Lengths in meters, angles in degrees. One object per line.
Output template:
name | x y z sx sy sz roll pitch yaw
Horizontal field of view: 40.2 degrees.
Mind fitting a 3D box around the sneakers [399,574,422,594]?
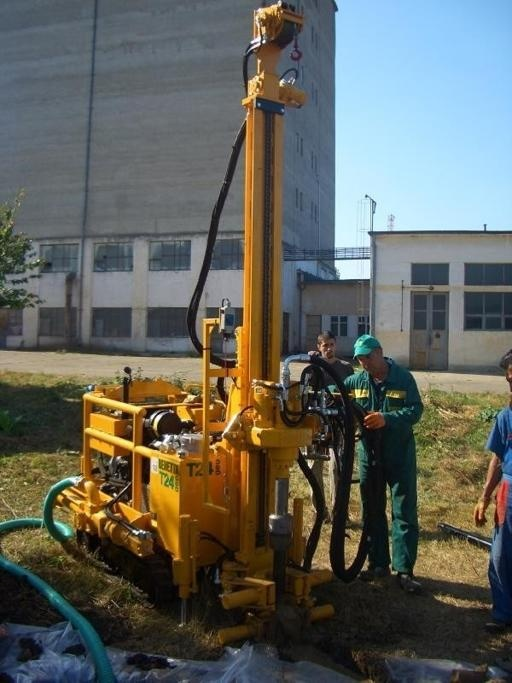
sneakers | 1.010 1.584 4.573 0.061 0.083 0.190 -1 -16 -19

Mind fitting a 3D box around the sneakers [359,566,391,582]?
sneakers | 0.809 1.610 4.822 0.230 0.100 0.078 12 -18 -32

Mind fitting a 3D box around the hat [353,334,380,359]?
hat | 0.779 0.020 4.944 0.132 0.120 0.201 -7 -4 31

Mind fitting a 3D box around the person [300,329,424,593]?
person | 0.852 0.793 4.794 0.543 1.681 0.895 2 -2 11
